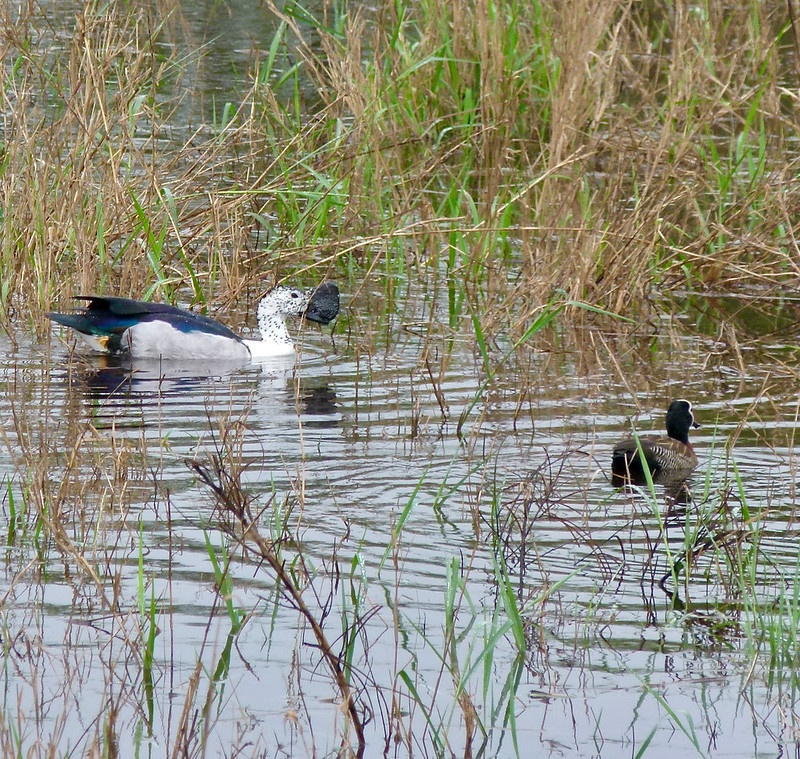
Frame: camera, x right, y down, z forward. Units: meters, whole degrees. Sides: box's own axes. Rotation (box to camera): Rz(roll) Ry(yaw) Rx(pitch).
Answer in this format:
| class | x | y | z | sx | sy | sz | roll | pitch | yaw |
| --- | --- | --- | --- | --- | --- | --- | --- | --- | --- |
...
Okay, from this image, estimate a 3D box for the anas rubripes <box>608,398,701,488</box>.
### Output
| class | x | y | z | sx | sy | sz | roll | pitch | yaw |
| --- | --- | --- | --- | --- | --- | --- | --- | --- | --- |
| anas rubripes | 1.432 | 0.376 | 6.828 | 0.332 | 0.347 | 1.107 | 8 | 15 | 27 |
